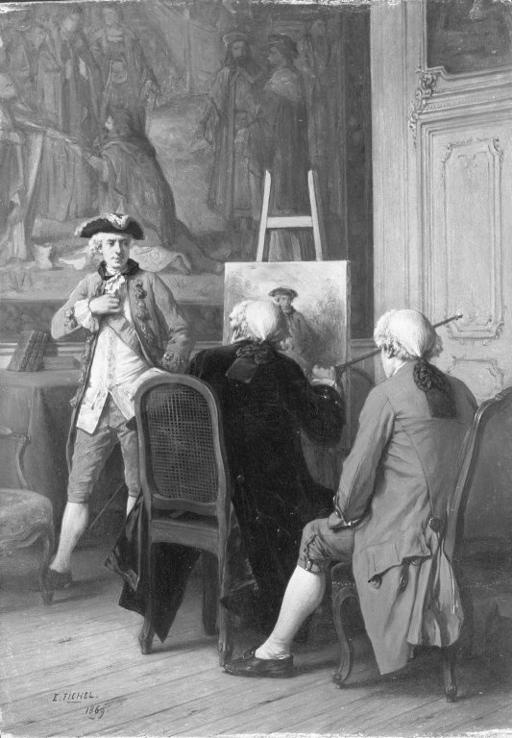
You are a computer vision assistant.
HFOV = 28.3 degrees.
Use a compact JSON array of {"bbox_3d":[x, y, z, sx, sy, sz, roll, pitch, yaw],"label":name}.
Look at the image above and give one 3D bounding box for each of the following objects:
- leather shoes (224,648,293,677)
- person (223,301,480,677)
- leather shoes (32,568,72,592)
[{"bbox_3d":[0.016,1.177,4.045,0.289,0.133,0.108,4,-9,-6],"label":"leather shoes"},{"bbox_3d":[0.415,0.602,3.779,0.767,1.252,0.253,0,6,11],"label":"person"},{"bbox_3d":[-0.836,0.877,4.192,0.081,0.045,0.116,1,4,2],"label":"leather shoes"}]
